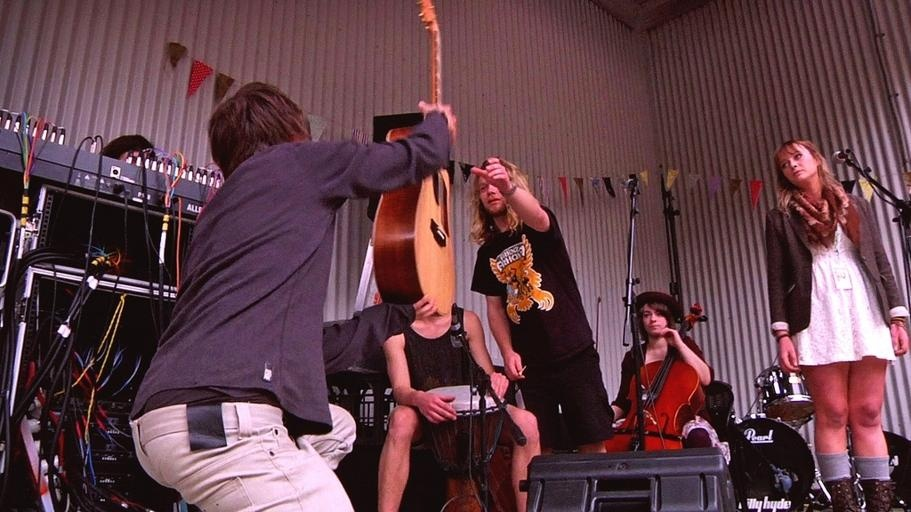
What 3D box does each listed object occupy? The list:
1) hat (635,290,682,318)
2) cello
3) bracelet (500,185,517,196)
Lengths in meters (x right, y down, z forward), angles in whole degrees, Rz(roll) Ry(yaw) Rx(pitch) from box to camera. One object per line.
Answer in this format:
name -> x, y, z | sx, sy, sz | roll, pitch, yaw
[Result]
hat -> 1.872, 0.417, 6.161 | 0.354, 0.101, 0.368 | 3, -24, 9
cello -> 1.733, 0.938, 5.649 | 0.753, 1.435, 0.524 | -13, -42, 40
bracelet -> 0.368, -0.439, 4.483 | 0.125, 0.066, 0.096 | 0, -12, -8
